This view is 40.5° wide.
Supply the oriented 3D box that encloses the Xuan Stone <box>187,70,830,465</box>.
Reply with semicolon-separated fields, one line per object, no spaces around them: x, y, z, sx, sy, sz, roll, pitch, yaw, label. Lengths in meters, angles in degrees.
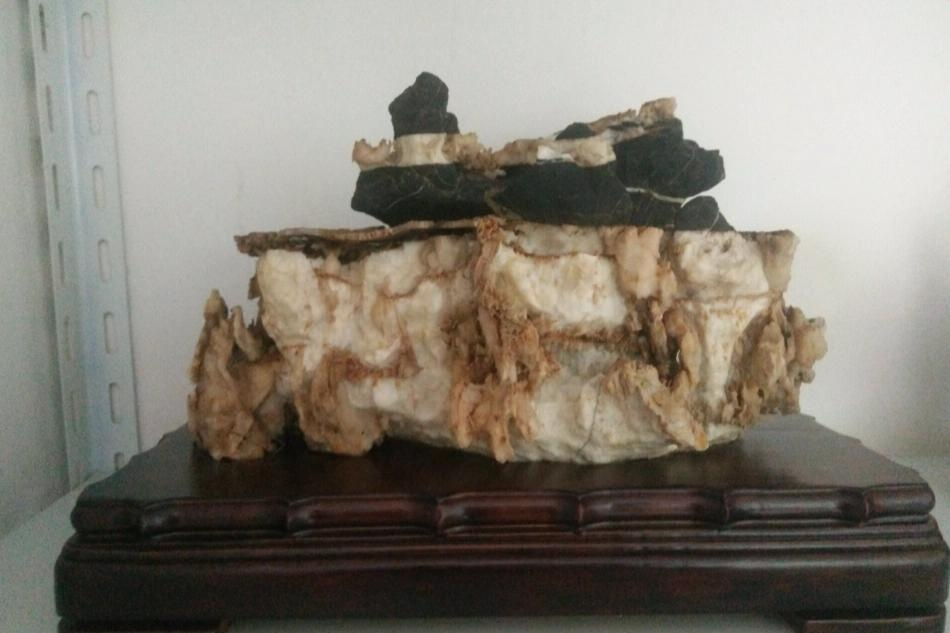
0.060;-0.102;3.857;1.849;1.179;0.706;0;6;3;Xuan Stone
